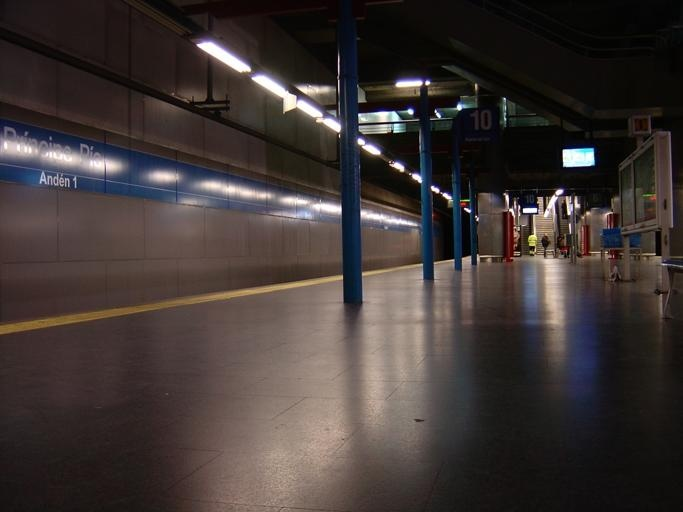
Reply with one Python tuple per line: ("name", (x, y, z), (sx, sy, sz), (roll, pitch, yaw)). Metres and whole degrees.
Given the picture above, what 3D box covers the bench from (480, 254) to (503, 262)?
("bench", (9.551, 0.096, 36.767), (1.337, 0.484, 5.397), (1, 1, 14))
